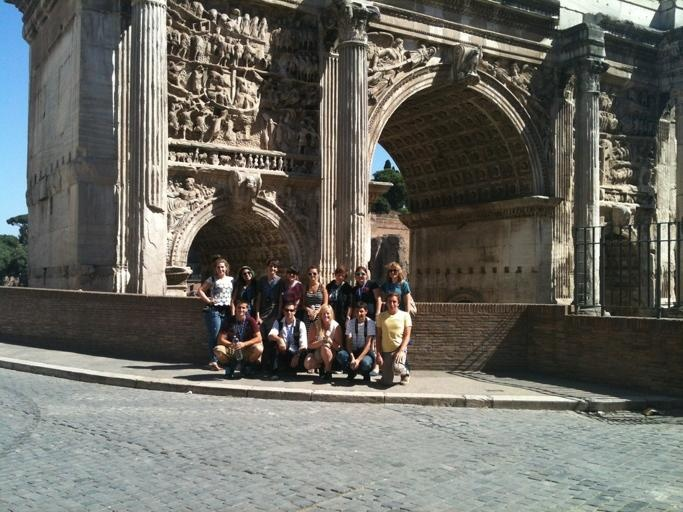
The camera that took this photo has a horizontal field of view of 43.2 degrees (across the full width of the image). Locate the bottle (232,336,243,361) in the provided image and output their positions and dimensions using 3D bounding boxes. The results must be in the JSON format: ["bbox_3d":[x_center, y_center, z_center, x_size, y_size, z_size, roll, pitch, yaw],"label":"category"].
[{"bbox_3d":[-2.196,2.012,18.226,0.246,0.525,0.335,1,10,-7],"label":"bottle"}]
